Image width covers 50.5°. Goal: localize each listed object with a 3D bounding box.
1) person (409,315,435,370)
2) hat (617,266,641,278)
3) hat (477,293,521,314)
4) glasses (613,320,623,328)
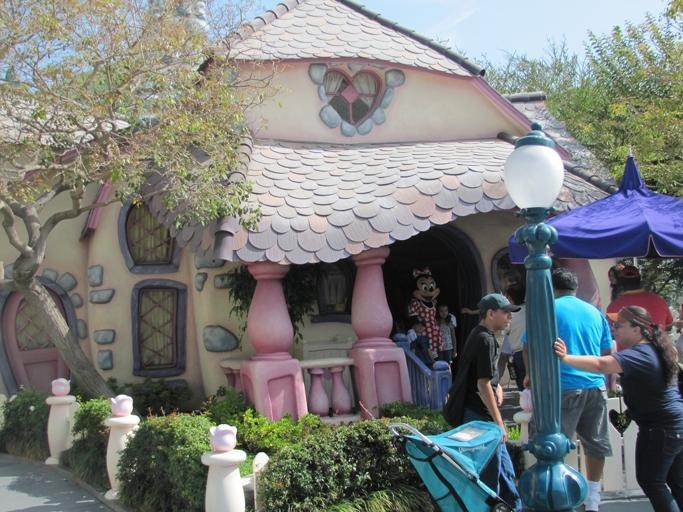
[{"bbox_3d":[1.323,1.473,12.147,0.355,0.842,1.432,-6,-9,11],"label":"person"},{"bbox_3d":[4.214,0.262,10.587,0.207,0.182,0.207,3,-8,-38],"label":"hat"},{"bbox_3d":[1.747,0.536,8.069,0.351,0.161,0.241,1,1,3],"label":"hat"},{"bbox_3d":[2.986,0.745,7.815,0.065,0.056,0.070,0,-9,-13],"label":"glasses"}]
